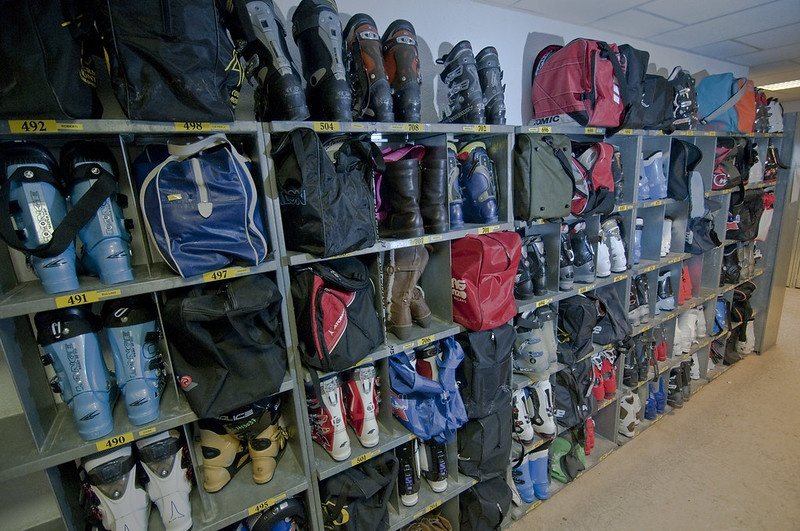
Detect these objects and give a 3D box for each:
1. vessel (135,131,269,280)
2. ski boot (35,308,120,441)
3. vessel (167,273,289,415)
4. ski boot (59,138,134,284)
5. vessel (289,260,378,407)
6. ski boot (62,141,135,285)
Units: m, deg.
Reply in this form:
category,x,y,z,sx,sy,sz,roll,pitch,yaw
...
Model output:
category,x,y,z,sx,sy,sz,roll,pitch,yaw
vessel,-0.978,-0.290,2.958,0.660,0.834,0.246,-1,43,-3
ski boot,-1.603,0.532,2.811,0.257,0.633,0.255,-13,15,-34
vessel,-0.894,0.398,2.937,0.593,0.656,0.257,-9,13,-20
ski boot,-1.443,-0.260,2.870,0.273,0.842,0.336,-7,11,-15
vessel,-0.386,0.348,3.110,0.349,0.642,0.661,4,17,33
ski boot,-1.462,-0.224,2.870,0.274,0.796,0.321,-6,12,-16
